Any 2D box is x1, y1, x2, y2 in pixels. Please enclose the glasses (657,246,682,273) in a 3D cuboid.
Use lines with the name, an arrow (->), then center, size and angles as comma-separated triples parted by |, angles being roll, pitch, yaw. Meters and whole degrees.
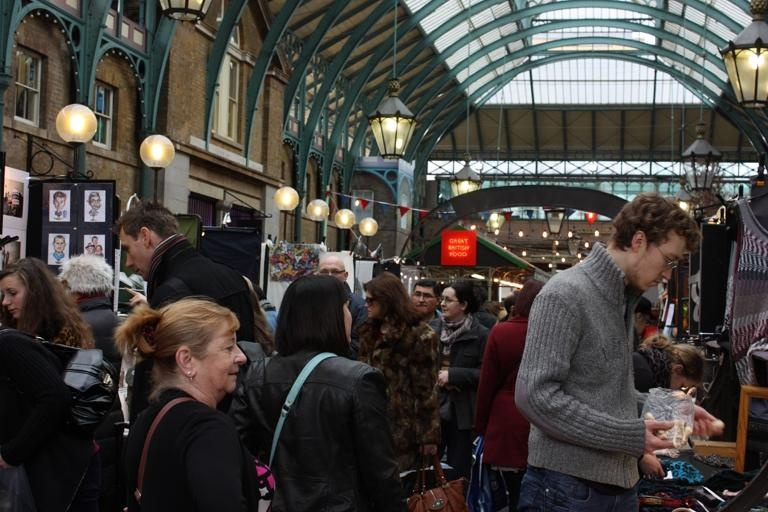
glasses -> 1.711, 0.024, 4.807 | 0.043, 0.148, 0.130 | -20, -21, 40
